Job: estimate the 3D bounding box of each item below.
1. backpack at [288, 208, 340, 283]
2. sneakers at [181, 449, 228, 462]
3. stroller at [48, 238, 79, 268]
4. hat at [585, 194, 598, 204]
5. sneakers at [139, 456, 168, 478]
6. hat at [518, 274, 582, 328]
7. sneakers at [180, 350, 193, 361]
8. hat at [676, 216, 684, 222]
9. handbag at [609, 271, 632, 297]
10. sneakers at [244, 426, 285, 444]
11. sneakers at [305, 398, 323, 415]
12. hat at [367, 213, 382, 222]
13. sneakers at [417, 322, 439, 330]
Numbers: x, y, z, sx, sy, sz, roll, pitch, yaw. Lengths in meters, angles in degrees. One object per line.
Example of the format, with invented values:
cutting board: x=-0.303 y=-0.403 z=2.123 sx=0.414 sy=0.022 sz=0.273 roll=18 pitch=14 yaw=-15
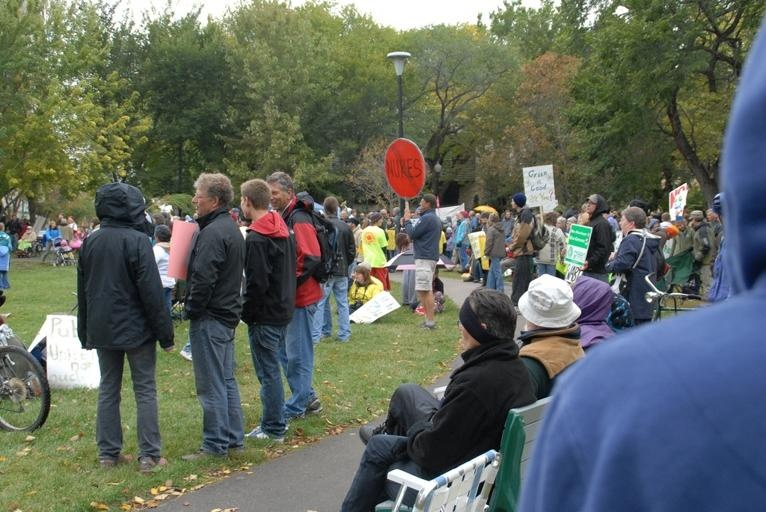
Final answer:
backpack: x=-0.653 y=-0.102 z=7.459 sx=0.702 sy=0.706 sz=0.491 roll=-6 pitch=8 yaw=-38
sneakers: x=-1.497 y=1.672 z=6.129 sx=0.351 sy=0.141 sz=0.128 roll=5 pitch=-12 yaw=4
stroller: x=-12.159 y=-0.118 z=27.713 sx=0.770 sy=0.948 sz=2.175 roll=-2 pitch=6 yaw=-25
hat: x=3.235 y=-0.866 z=11.198 sx=0.149 sy=0.124 sz=0.336 roll=2 pitch=5 yaw=15
sneakers: x=-1.832 y=1.665 z=5.863 sx=0.235 sy=0.098 sz=0.234 roll=-2 pitch=6 yaw=-29
hat: x=1.064 y=0.308 z=4.718 sx=0.305 sy=0.172 sz=0.379 roll=-8 pitch=28 yaw=-6
sneakers: x=-2.572 y=1.318 z=9.542 sx=0.096 sy=0.126 sz=0.471 roll=-2 pitch=6 yaw=-25
hat: x=6.373 y=-0.796 z=15.583 sx=0.247 sy=0.128 sz=0.103 roll=-4 pitch=7 yaw=-41
handbag: x=2.874 y=0.337 z=8.756 sx=0.323 sy=0.318 sz=0.282 roll=3 pitch=-3 yaw=-17
sneakers: x=-1.077 y=1.652 z=6.680 sx=0.385 sy=0.161 sz=0.139 roll=12 pitch=-13 yaw=11
sneakers: x=-0.695 y=1.538 z=7.433 sx=0.187 sy=0.085 sz=0.082 roll=-2 pitch=-9 yaw=-13
hat: x=-0.156 y=-0.766 z=14.126 sx=0.154 sy=0.193 sz=0.190 roll=22 pitch=-31 yaw=24
sneakers: x=0.772 y=1.150 z=12.235 sx=0.276 sy=0.128 sz=0.405 roll=2 pitch=5 yaw=5
